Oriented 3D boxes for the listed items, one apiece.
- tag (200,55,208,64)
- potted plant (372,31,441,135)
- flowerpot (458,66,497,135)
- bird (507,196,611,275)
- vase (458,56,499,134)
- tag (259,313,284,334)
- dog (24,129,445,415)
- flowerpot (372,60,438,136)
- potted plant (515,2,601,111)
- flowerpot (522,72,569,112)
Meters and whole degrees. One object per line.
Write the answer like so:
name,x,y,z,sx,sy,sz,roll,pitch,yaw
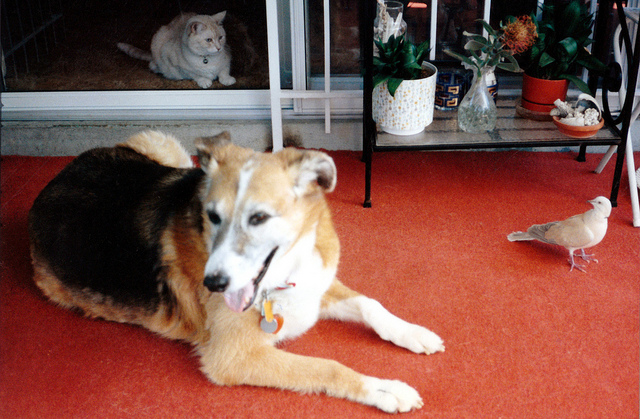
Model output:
tag,-1.092,-1.433,4.852,0.042,0.076,0.020,-2,2,0
potted plant,0.670,-0.961,3.867,0.415,0.683,0.587,14,32,26
flowerpot,1.209,-0.853,3.860,0.286,0.498,0.305,-2,26,-6
bird,1.684,0.161,3.356,0.709,0.521,0.324,12,33,33
vase,1.206,-0.853,3.830,0.324,0.606,0.336,11,37,19
tag,-0.275,0.633,2.916,0.112,0.083,0.116,38,58,17
dog,-0.604,0.209,3.177,2.678,1.160,1.335,20,36,25
flowerpot,0.659,-0.842,3.980,0.446,0.430,0.499,0,40,2
potted plant,1.807,-1.164,3.863,0.602,0.763,0.461,7,30,16
flowerpot,1.751,-0.898,3.982,0.293,0.245,0.324,1,27,3
